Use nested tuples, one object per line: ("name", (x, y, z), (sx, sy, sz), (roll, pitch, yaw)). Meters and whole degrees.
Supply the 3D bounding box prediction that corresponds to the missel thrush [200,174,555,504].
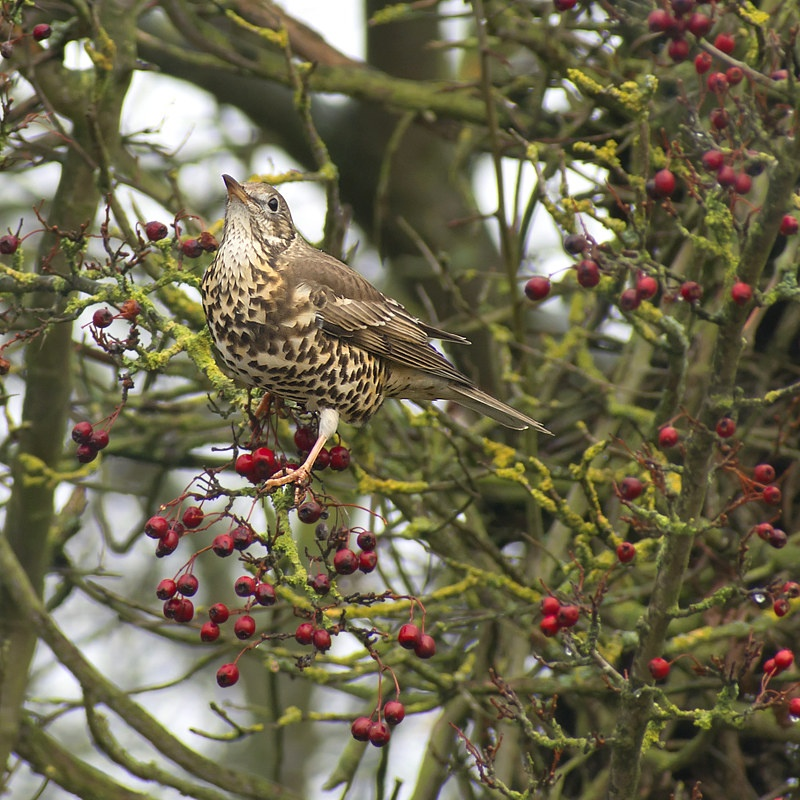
("missel thrush", (-0.154, -0.254, 7.012), (1.548, 1.097, 0.567), (2, 9, -42))
